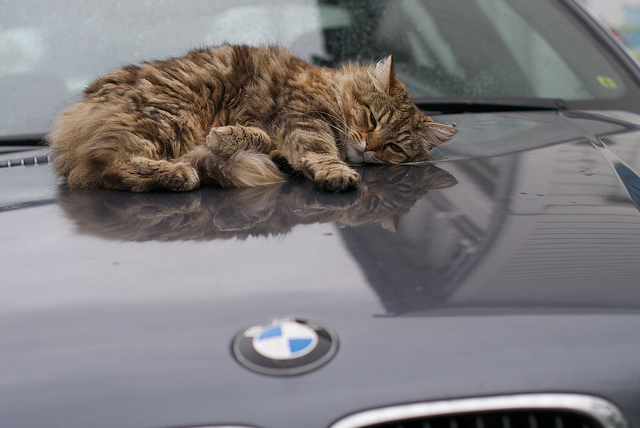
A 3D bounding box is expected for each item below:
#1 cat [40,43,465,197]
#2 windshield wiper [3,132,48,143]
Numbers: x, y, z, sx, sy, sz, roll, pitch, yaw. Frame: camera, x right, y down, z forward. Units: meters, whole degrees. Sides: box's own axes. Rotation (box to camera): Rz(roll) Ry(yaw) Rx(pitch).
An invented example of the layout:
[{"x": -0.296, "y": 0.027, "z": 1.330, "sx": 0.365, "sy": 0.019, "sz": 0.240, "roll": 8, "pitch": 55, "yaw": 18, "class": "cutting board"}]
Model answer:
[{"x": -0.267, "y": -0.363, "z": 2.523, "sx": 1.213, "sy": 0.746, "sz": 0.345, "roll": 1, "pitch": 86, "yaw": 1, "class": "cat"}, {"x": -1.083, "y": -0.279, "z": 2.431, "sx": 0.200, "sy": 0.024, "sz": 0.026, "roll": -4, "pitch": 17, "yaw": -14, "class": "windshield wiper"}]
